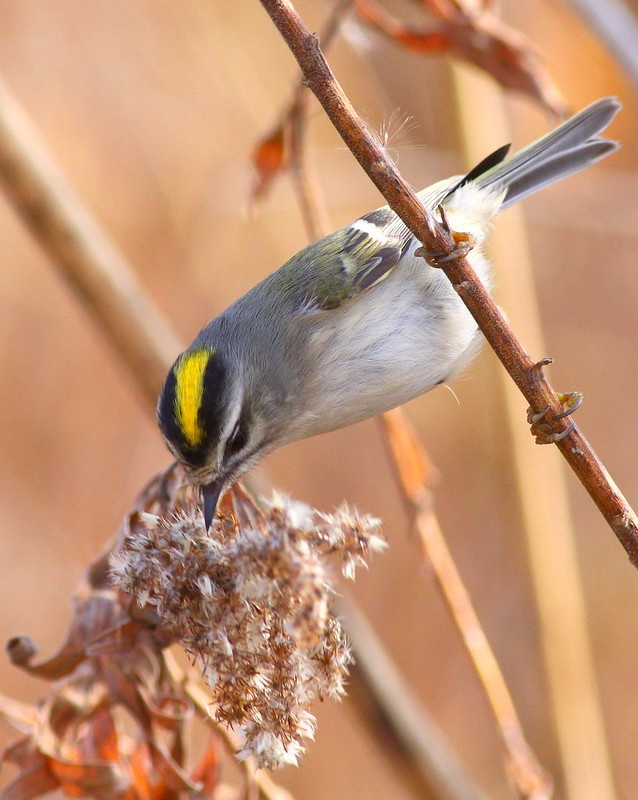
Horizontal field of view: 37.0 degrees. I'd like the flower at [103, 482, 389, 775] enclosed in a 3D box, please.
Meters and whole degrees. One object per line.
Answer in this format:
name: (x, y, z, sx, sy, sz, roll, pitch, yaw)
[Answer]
flower: (-0.120, 0.421, 1.903, 0.357, 0.533, 0.538, -43, 77, -14)
